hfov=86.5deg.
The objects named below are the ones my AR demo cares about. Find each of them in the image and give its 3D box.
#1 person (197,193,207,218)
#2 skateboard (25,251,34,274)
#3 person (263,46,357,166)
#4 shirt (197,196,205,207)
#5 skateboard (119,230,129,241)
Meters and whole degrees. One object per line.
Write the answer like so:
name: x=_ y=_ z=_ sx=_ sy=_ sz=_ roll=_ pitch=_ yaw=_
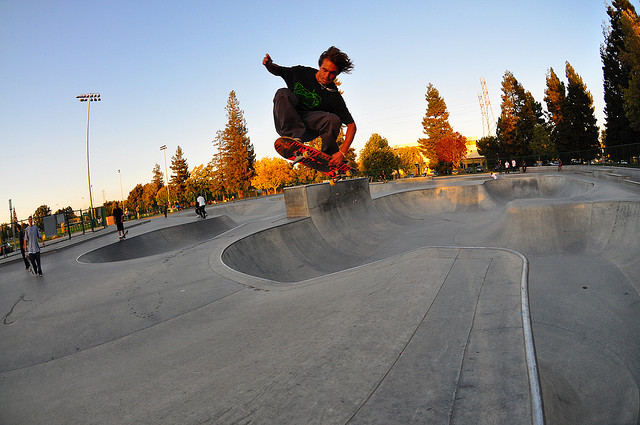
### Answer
person: x=-6.925 y=-0.230 z=19.882 sx=0.377 sy=1.299 sz=2.058 roll=-9 pitch=8 yaw=-19
skateboard: x=-7.968 y=1.418 z=9.319 sx=0.104 sy=0.688 sz=0.142 roll=-26 pitch=12 yaw=-32
person: x=-0.125 y=-1.808 z=6.015 sx=1.412 sy=1.802 sz=0.984 roll=-6 pitch=8 yaw=3
shirt: x=-6.836 y=-0.594 z=19.549 sx=0.337 sy=0.517 sz=0.642 roll=-9 pitch=8 yaw=-23
skateboard: x=-8.259 y=1.031 z=14.279 sx=0.245 sy=0.176 sz=0.445 roll=-9 pitch=-22 yaw=-48
